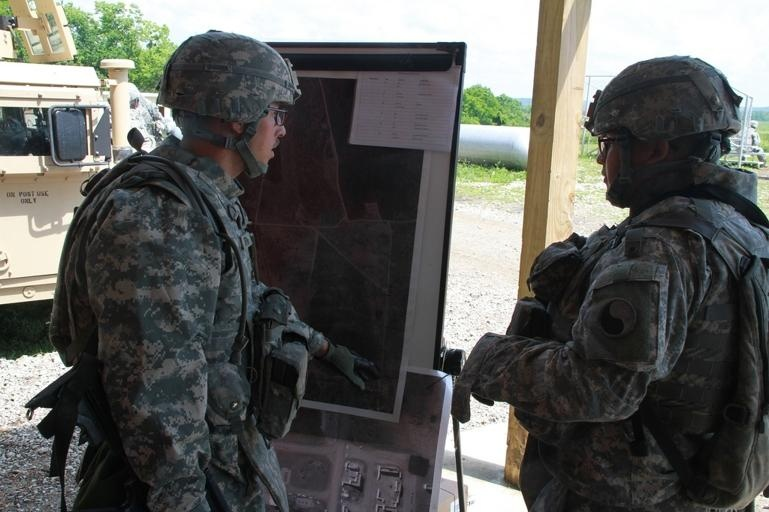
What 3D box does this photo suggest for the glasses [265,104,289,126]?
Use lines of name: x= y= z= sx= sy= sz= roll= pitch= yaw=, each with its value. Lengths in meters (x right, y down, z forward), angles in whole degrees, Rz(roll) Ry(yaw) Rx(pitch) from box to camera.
glasses: x=-0.496 y=-0.630 z=3.035 sx=0.124 sy=0.132 sz=0.038 roll=2 pitch=9 yaw=-27

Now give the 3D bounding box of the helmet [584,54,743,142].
helmet: x=1.218 y=-0.673 z=2.993 sx=0.656 sy=0.359 sz=0.485 roll=6 pitch=8 yaw=43
